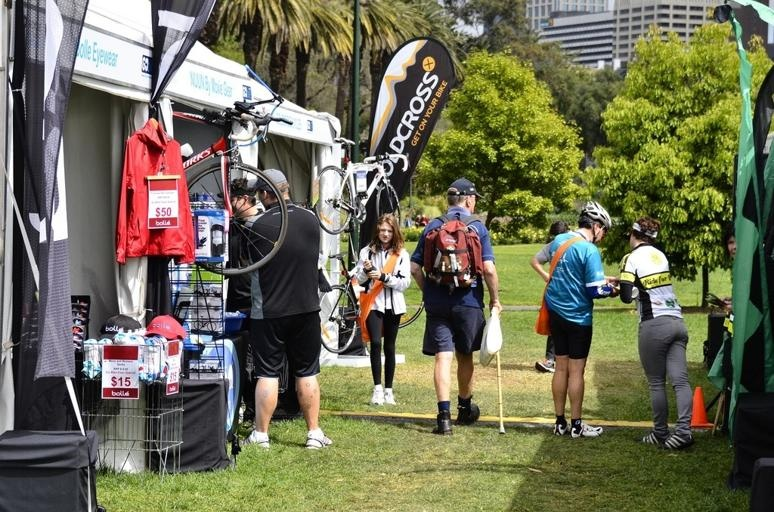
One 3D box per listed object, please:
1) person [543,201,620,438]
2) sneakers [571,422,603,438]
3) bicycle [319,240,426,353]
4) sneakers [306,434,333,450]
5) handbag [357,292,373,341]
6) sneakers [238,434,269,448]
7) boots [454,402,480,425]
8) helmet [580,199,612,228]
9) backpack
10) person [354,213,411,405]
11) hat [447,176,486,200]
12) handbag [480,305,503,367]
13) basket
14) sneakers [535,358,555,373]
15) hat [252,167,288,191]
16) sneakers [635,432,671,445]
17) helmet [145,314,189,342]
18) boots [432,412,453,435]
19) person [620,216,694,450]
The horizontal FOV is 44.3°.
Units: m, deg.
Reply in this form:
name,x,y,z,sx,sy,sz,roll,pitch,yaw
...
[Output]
name,x,y,z,sx,sy,sz,roll,pitch,yaw
person,2.191,0.712,10.888,0.793,2.647,0.605,0,3,10
sneakers,2.271,1.978,10.800,0.318,0.149,0.185,-1,3,0
bicycle,-0.463,0.815,15.265,1.969,1.345,0.981,-8,9,-40
sneakers,-0.744,2.000,10.334,0.113,0.153,0.322,1,4,23
handbag,-0.262,0.751,12.198,0.303,0.542,0.138,-4,5,-31
sneakers,-1.448,1.984,10.272,0.319,0.157,0.122,4,-1,19
boots,0.998,1.884,11.354,0.184,0.328,0.311,-5,-5,21
helmet,2.446,-0.484,11.029,0.345,0.233,0.269,31,4,-13
backpack,0.744,-0.042,10.746,0.611,0.796,0.290,-1,3,-13
person,-0.057,0.686,12.119,0.666,2.453,0.486,0,3,-3
hat,0.910,-0.813,11.164,0.361,0.228,0.261,-1,5,-28
handbag,1.191,0.915,10.837,0.228,0.669,0.466,1,4,13
basket,-2.489,1.442,9.269,0.985,1.439,0.478,-1,3,-13
sneakers,2.393,1.674,14.496,0.320,0.173,0.133,5,-4,3
hat,-1.285,-0.850,10.279,0.307,0.198,0.197,27,26,35
sneakers,2.955,2.027,10.485,0.117,0.150,0.326,5,-1,-44
helmet,-2.145,0.708,9.326,0.217,0.185,0.320,4,-7,12
boots,0.611,1.897,10.947,0.198,0.263,0.353,-2,4,-24
person,2.945,0.826,10.387,0.794,2.500,0.478,1,3,15
